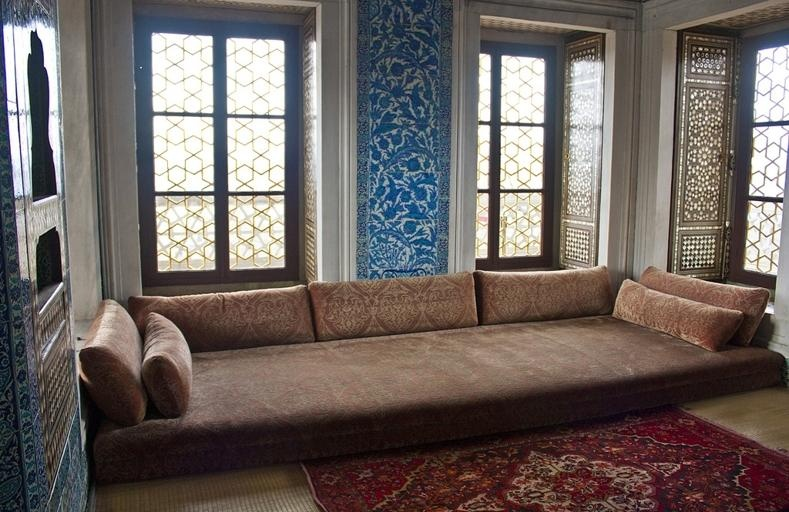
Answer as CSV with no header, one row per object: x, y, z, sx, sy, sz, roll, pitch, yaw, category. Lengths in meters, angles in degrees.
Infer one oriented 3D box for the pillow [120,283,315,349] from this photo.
-1.072,0.472,4.028,1.164,0.413,0.175,-2,-7,-45,pillow

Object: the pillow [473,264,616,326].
1.278,0.336,4.751,1.304,0.420,0.207,-2,-8,-20,pillow

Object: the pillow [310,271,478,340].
-0.006,0.383,4.313,1.257,0.418,0.157,-3,-14,-21,pillow

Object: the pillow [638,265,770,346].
2.455,0.408,4.469,0.180,0.325,0.604,24,-2,-27,pillow
